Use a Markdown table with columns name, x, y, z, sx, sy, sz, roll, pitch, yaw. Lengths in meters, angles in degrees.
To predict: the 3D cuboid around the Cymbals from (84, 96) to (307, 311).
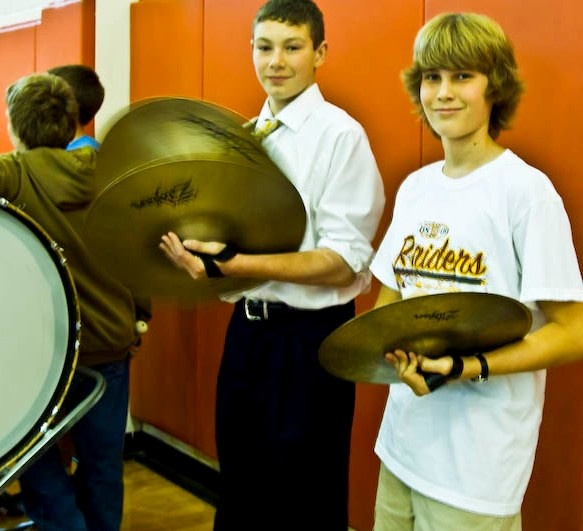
| name | x | y | z | sx | sy | sz | roll | pitch | yaw |
| --- | --- | --- | --- | --- | --- | --- | --- | --- | --- |
| Cymbals | -0.203 | -0.125 | 1.366 | 0.461 | 0.398 | 0.279 | -1 | 7 | -1 |

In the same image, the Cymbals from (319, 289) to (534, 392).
| name | x | y | z | sx | sy | sz | roll | pitch | yaw |
| --- | --- | --- | --- | --- | --- | --- | --- | --- | --- |
| Cymbals | 0.200 | 0.154 | 1.233 | 0.272 | 0.077 | 0.271 | 30 | -39 | -21 |
